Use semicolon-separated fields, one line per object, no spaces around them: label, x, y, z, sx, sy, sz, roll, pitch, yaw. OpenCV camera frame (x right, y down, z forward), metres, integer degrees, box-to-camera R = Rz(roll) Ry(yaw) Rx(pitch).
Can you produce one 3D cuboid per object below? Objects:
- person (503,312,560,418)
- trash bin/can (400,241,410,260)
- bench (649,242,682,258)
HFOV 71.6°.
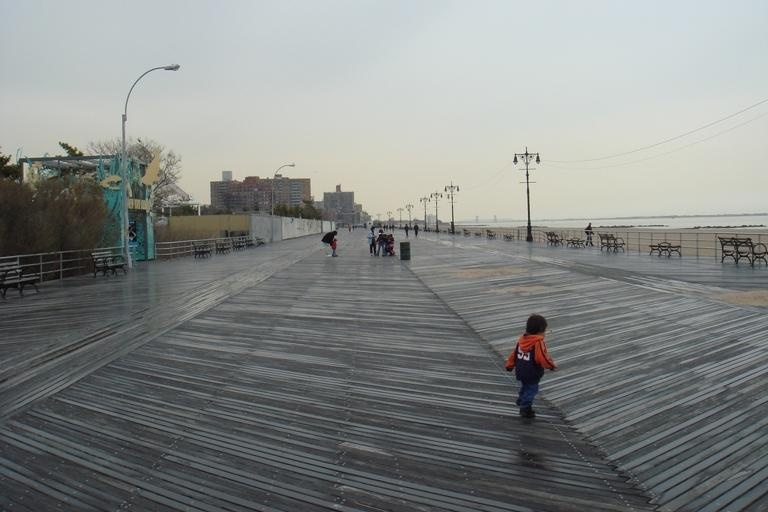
person;2.084;1.531;7.629;0.655;1.497;0.871;1;8;12
trash bin/can;1.033;-0.251;27.429;0.416;0.775;0.979;-1;8;-3
bench;15.220;-0.359;28.803;0.802;0.498;1.214;1;-2;-23
